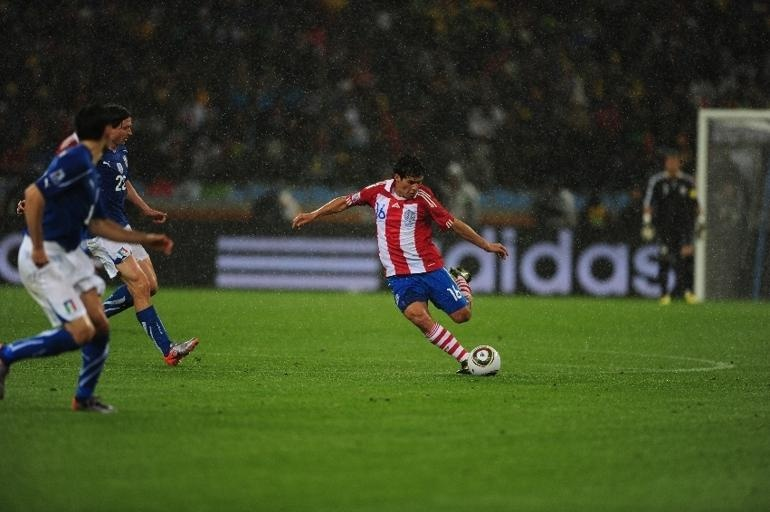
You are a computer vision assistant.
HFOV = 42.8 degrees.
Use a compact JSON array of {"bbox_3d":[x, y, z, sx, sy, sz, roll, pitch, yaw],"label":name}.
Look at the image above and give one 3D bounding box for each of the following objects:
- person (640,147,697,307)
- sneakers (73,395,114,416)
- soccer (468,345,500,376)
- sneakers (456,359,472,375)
[{"bbox_3d":[4.594,-0.433,15.735,0.828,2.338,0.485,-1,3,8],"label":"person"},{"bbox_3d":[-2.552,1.327,8.659,0.390,0.172,0.144,1,-1,-4],"label":"sneakers"},{"bbox_3d":[0.984,1.055,9.892,0.306,0.272,0.253,-36,-5,13],"label":"soccer"},{"bbox_3d":[0.772,1.142,9.899,0.069,0.151,0.209,3,-18,-24],"label":"sneakers"}]
